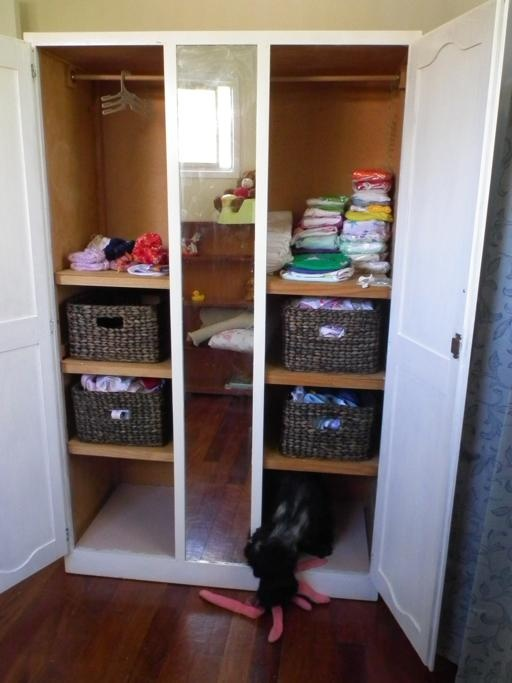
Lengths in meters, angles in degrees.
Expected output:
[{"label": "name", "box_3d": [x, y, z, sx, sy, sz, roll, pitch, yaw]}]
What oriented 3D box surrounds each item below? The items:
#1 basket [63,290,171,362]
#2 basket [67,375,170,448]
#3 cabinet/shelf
[{"label": "basket", "box_3d": [-0.483, -0.045, 2.136, 0.304, 0.187, 0.304, 1, 16, 2]}, {"label": "basket", "box_3d": [-0.482, 0.271, 2.065, 0.320, 0.196, 0.246, 1, 9, 1]}, {"label": "cabinet/shelf", "box_3d": [-0.052, 0.019, 1.909, 1.491, 1.807, 1.014, 6, 13, 23]}]
